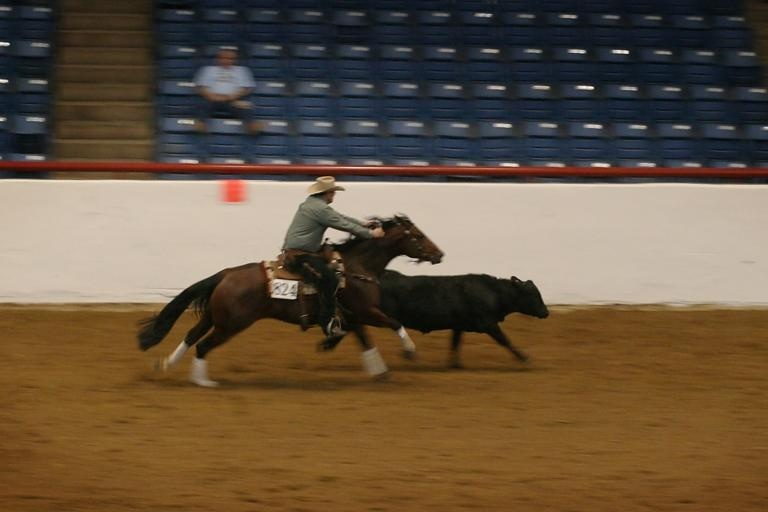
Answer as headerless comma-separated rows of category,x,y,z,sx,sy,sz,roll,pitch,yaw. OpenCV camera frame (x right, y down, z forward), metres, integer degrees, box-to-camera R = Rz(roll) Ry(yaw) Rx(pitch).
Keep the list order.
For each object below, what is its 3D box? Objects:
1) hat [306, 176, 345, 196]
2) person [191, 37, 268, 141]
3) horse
hat,-0.737,-0.883,14.944,0.438,0.117,0.306,-8,13,-20
person,-2.474,-2.571,18.687,1.050,1.295,0.547,5,8,-8
horse,-1.177,0.649,14.987,4.410,1.700,0.852,-6,7,-24
